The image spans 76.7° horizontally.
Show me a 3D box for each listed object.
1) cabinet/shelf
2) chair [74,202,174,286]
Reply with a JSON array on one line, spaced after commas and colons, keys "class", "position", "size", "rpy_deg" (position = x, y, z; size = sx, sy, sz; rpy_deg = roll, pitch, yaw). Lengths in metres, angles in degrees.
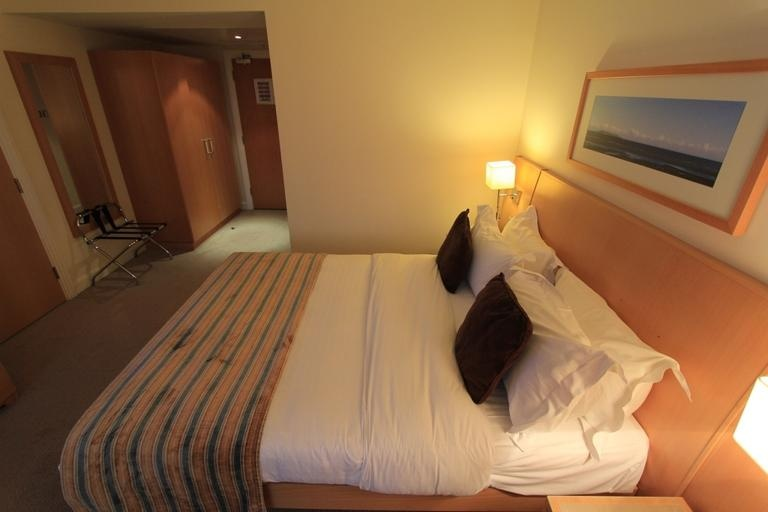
[{"class": "cabinet/shelf", "position": [-2.592, -1.202, 5.559], "size": [0.784, 2.384, 1.965], "rpy_deg": [0, 21, 1]}, {"class": "chair", "position": [-2.861, -0.286, 5.422], "size": [0.730, 0.963, 1.146], "rpy_deg": [3, 30, -6]}]
